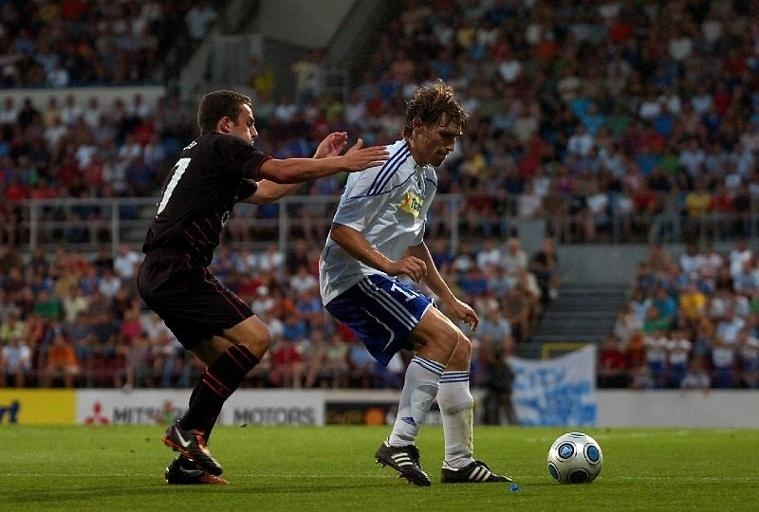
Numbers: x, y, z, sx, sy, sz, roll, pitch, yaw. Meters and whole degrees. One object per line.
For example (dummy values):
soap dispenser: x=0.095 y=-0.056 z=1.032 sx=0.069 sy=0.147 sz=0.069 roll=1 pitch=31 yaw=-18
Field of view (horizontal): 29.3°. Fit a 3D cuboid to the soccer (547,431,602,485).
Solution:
soccer: x=2.871 y=2.910 z=21.239 sx=0.710 sy=0.711 sz=0.738 roll=-7 pitch=32 yaw=17
